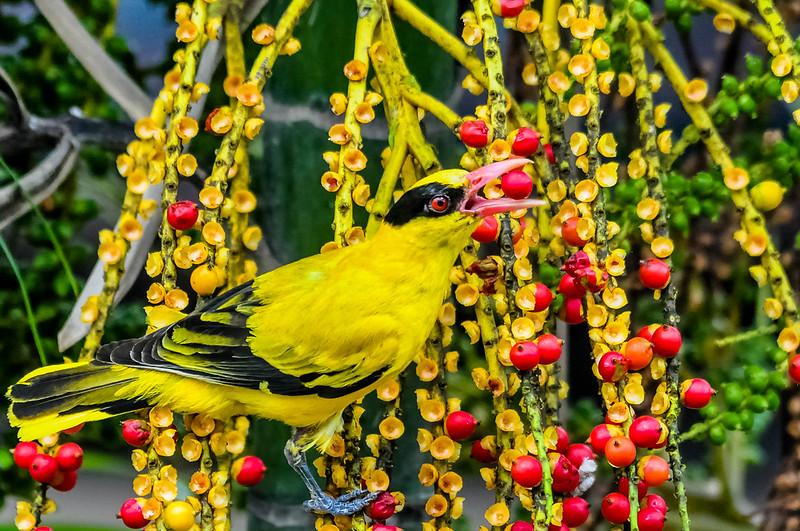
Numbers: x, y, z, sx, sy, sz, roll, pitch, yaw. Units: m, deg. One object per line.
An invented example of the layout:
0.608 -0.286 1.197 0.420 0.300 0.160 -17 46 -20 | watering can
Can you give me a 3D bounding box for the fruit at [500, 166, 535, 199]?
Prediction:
0.234 -0.160 2.178 0.061 0.047 0.047 10 7 40 | fruit
